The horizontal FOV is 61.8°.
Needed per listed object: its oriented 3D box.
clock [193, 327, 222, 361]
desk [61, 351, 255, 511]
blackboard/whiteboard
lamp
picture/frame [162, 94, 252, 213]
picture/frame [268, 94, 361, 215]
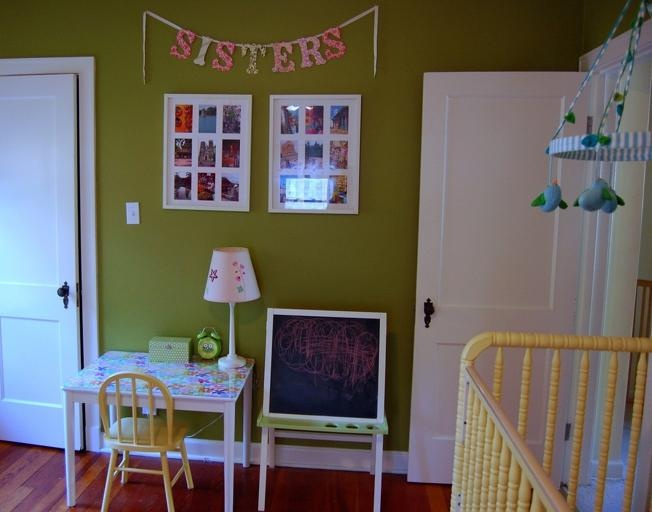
[{"bbox_3d":[-0.763,0.573,3.515,0.140,0.177,0.070,3,8,-4],"label":"clock"},{"bbox_3d":[-0.956,0.792,3.231,1.087,0.889,0.821,1,4,9],"label":"desk"},{"bbox_3d":[0.001,0.683,3.278,0.572,0.578,0.026,2,-8,0],"label":"blackboard/whiteboard"},{"bbox_3d":[-0.583,0.324,3.403,0.333,0.742,0.291,-1,7,-7],"label":"lamp"},{"bbox_3d":[-0.741,-0.683,3.444,0.611,0.894,0.030,2,9,3],"label":"picture/frame"},{"bbox_3d":[-0.074,-0.630,3.421,0.539,0.770,0.028,0,32,-3],"label":"picture/frame"}]
